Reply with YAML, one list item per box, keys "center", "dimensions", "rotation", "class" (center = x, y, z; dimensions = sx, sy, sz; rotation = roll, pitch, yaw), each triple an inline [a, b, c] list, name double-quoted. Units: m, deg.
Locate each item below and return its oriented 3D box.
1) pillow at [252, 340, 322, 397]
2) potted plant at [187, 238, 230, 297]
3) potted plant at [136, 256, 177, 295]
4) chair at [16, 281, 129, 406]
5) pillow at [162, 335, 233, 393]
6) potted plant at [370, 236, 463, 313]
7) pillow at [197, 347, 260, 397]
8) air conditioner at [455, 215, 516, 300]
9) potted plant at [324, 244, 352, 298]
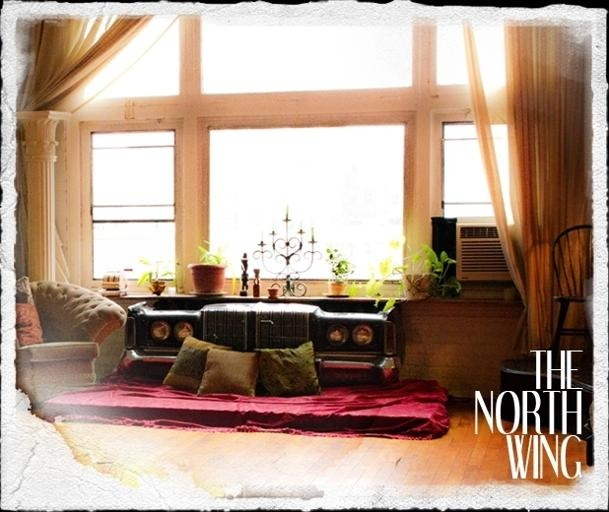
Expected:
- center: [-0.114, 0.792, 3.766]
  dimensions: [0.359, 0.325, 0.122]
  rotation: [-2, -32, -11]
  class: "pillow"
- center: [-0.773, 0.122, 4.484]
  dimensions: [0.320, 0.350, 0.325]
  rotation: [6, -4, 11]
  class: "potted plant"
- center: [-1.271, 0.164, 4.636]
  dimensions: [0.332, 0.257, 0.323]
  rotation: [0, 1, 7]
  class: "potted plant"
- center: [-1.775, 0.603, 3.859]
  dimensions: [0.807, 0.681, 0.794]
  rotation: [1, 7, -14]
  class: "chair"
- center: [-0.786, 0.768, 3.884]
  dimensions: [0.378, 0.344, 0.111]
  rotation: [14, -12, 24]
  class: "pillow"
- center: [0.851, 0.129, 4.284]
  dimensions: [0.697, 0.428, 0.272]
  rotation: [2, 12, 15]
  class: "potted plant"
- center: [-0.490, 0.770, 3.620]
  dimensions: [0.338, 0.291, 0.099]
  rotation: [2, -16, -2]
  class: "pillow"
- center: [1.418, -0.054, 4.372]
  dimensions: [0.529, 0.484, 0.277]
  rotation: [0, 1, -2]
  class: "air conditioner"
- center: [0.294, 0.168, 4.342]
  dimensions: [0.217, 0.292, 0.180]
  rotation: [5, 2, 9]
  class: "potted plant"
